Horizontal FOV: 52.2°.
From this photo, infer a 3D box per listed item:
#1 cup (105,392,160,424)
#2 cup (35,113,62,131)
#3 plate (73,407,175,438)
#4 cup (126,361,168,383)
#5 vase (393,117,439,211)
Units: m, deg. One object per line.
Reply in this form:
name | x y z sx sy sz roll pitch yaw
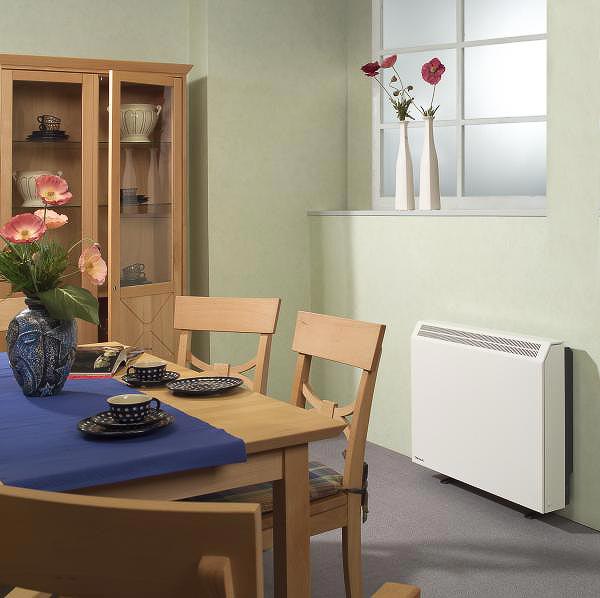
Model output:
cup | -0.360 0.236 1.362 0.084 0.035 0.068 3 -4 -42
cup | -1.381 -0.963 3.360 0.111 0.073 0.080 5 8 43
plate | -0.379 0.266 1.327 0.196 0.027 0.165 -1 6 -10
cup | -0.452 0.207 1.803 0.079 0.030 0.063 -4 5 -20
vase | 0.626 -0.698 3.223 0.229 0.478 0.326 1 7 9
